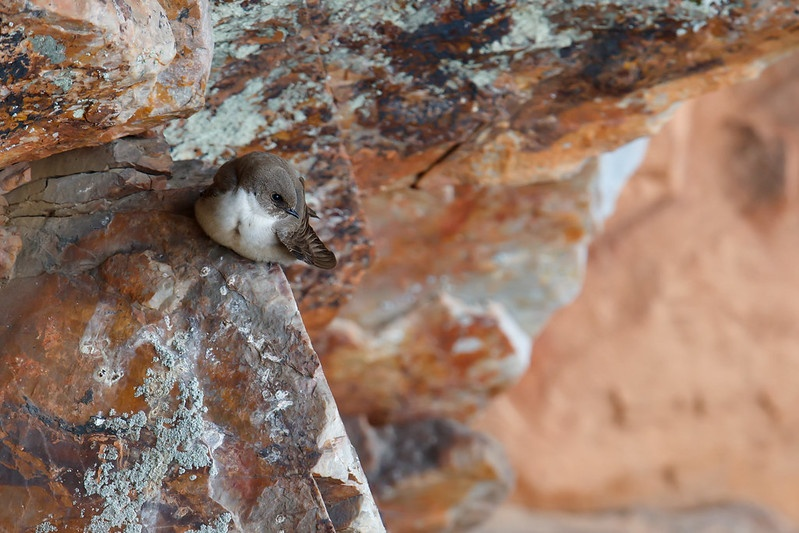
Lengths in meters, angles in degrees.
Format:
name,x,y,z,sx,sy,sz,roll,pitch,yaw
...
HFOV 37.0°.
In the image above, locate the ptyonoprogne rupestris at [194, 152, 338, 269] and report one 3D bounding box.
name,x,y,z,sx,sy,sz,roll,pitch,yaw
ptyonoprogne rupestris,-0.805,-0.277,7.273,0.617,0.797,0.515,51,130,12
